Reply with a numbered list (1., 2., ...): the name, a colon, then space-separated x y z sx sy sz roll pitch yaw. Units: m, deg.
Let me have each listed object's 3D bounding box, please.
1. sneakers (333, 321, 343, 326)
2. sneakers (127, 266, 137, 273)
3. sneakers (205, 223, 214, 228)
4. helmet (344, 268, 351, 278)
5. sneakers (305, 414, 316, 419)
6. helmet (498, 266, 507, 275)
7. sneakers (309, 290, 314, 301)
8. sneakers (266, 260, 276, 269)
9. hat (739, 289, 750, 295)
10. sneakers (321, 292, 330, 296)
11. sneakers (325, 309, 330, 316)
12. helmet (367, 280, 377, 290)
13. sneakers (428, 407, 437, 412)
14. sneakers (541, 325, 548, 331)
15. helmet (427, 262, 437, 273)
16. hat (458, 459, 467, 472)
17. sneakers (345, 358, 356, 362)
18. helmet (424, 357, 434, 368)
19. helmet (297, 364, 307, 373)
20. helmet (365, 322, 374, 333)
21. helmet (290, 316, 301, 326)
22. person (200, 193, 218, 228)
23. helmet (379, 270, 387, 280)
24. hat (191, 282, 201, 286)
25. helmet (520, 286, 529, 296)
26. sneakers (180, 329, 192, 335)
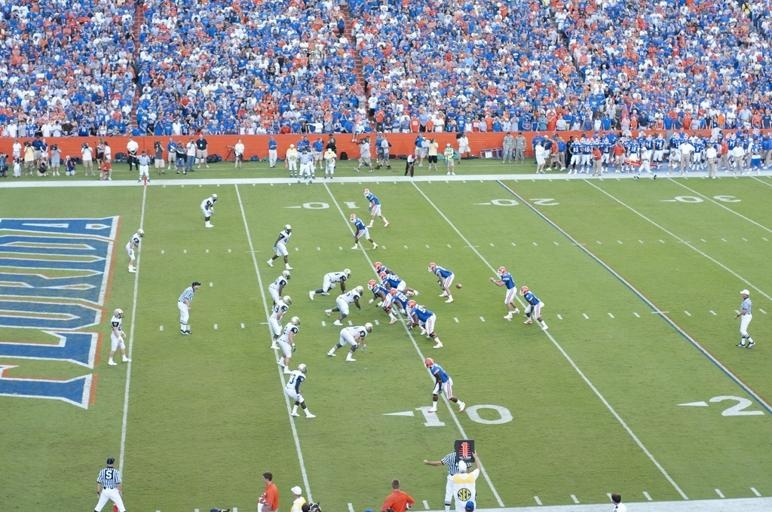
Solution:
1. sneakers: -1.678 2.390 44.266 0.337 0.195 0.111 -7 34 -16
2. sneakers: -9.953 0.501 48.457 0.509 0.273 0.152 -4 21 -25
3. sneakers: -7.542 -1.327 53.322 0.372 0.244 0.141 -5 58 -4
4. helmet: -1.380 0.630 46.131 0.298 0.263 0.239 -24 37 -37
5. sneakers: -2.347 5.048 38.970 0.327 0.197 0.108 0 -8 10
6. helmet: 4.176 0.539 44.599 0.325 0.244 0.256 17 28 33
7. sneakers: -2.731 1.471 46.215 0.255 0.334 0.120 0 11 2
8. sneakers: -4.526 0.300 49.212 0.284 0.388 0.138 -29 42 10
9. hat: 12.954 1.312 44.706 0.264 0.115 0.378 10 5 42
10. sneakers: -2.225 1.436 46.564 0.254 0.103 0.087 -3 19 12
11. sneakers: -2.084 2.067 44.922 0.258 0.135 0.225 8 -19 7
12. helmet: -0.447 1.050 44.771 0.313 0.330 0.370 -1 -24 -33
13. sneakers: 1.494 4.887 39.289 0.260 0.211 0.226 -2 15 3
14. sneakers: 5.666 2.541 44.008 0.161 0.231 0.220 -33 36 4
15. helmet: 1.653 0.418 45.930 0.352 0.318 0.324 14 21 20
16. hat: 2.160 5.887 34.601 0.213 0.156 0.293 3 30 2
17. sneakers: -1.138 3.507 41.985 0.309 0.135 0.258 -11 17 -30
18. helmet: 1.333 3.318 38.689 0.304 0.313 0.334 7 -14 10
19. helmet: -2.610 3.511 38.827 0.250 0.279 0.321 14 26 27
20. helmet: -0.472 2.400 42.018 0.311 0.334 0.365 1 -12 -8
21. helmet: -3.032 2.201 41.139 0.414 0.321 0.299 2 27 2
22. person: -7.628 -1.921 53.786 0.890 0.660 1.505 -3 -25 -24
23. helmet: -0.050 0.705 44.807 0.241 0.274 0.418 -5 15 -6
24. hat: -6.573 0.974 43.218 0.200 0.185 0.261 -13 0 41
25. helmet: 4.910 1.228 43.734 0.349 0.294 0.272 4 26 5
26. sneakers: -6.995 2.597 43.467 0.443 0.269 0.154 -3 31 -10
